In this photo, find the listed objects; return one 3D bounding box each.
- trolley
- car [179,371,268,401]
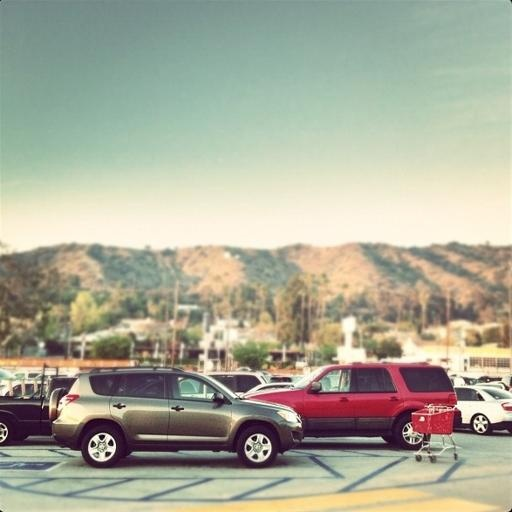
[{"bbox_3d":[3.188,3.180,11.229,0.775,1.011,0.548,7,-9,-38],"label":"trolley"},{"bbox_3d":[-0.764,3.851,17.390,1.926,1.058,1.142,3,-7,0],"label":"car"}]
